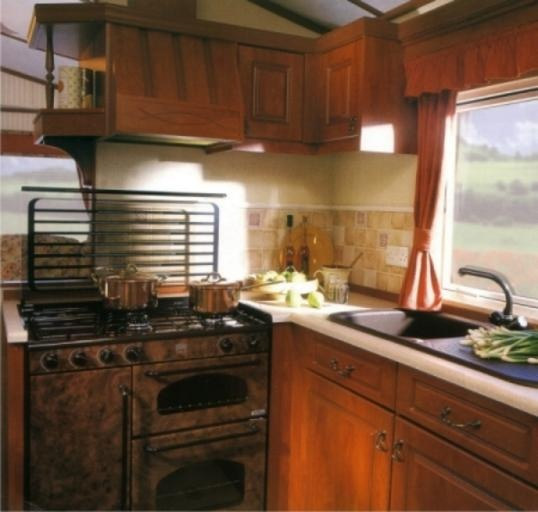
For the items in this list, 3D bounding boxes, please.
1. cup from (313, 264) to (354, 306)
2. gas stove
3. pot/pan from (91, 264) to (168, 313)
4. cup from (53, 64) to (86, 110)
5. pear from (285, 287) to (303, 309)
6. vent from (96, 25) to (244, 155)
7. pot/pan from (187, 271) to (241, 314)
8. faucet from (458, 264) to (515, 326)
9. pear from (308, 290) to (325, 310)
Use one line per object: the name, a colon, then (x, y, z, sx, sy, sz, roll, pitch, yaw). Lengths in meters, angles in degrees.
cup: (0.323, 0.152, 2.718, 0.203, 0.181, 0.177, 0, -2, 36)
gas stove: (-0.587, 0.269, 2.284, 0.950, 0.096, 0.767, -3, 6, -29)
pot/pan: (-0.593, 0.136, 2.158, 0.290, 0.196, 0.217, -3, 6, -22)
cup: (-0.893, -0.756, 2.273, 0.118, 0.211, 0.160, -2, 6, -19)
pear: (0.112, 0.199, 2.387, 0.079, 0.098, 0.081, -10, 12, -42)
vent: (-0.445, -0.789, 2.294, 0.626, 0.436, 0.228, -7, 19, -34)
pot/pan: (-0.252, 0.167, 2.267, 0.236, 0.152, 0.177, 1, 4, -29)
faucet: (0.838, 0.159, 1.923, 0.088, 0.215, 0.237, -20, 21, -38)
pear: (0.219, 0.209, 2.384, 0.063, 0.058, 0.081, -13, 24, -10)
